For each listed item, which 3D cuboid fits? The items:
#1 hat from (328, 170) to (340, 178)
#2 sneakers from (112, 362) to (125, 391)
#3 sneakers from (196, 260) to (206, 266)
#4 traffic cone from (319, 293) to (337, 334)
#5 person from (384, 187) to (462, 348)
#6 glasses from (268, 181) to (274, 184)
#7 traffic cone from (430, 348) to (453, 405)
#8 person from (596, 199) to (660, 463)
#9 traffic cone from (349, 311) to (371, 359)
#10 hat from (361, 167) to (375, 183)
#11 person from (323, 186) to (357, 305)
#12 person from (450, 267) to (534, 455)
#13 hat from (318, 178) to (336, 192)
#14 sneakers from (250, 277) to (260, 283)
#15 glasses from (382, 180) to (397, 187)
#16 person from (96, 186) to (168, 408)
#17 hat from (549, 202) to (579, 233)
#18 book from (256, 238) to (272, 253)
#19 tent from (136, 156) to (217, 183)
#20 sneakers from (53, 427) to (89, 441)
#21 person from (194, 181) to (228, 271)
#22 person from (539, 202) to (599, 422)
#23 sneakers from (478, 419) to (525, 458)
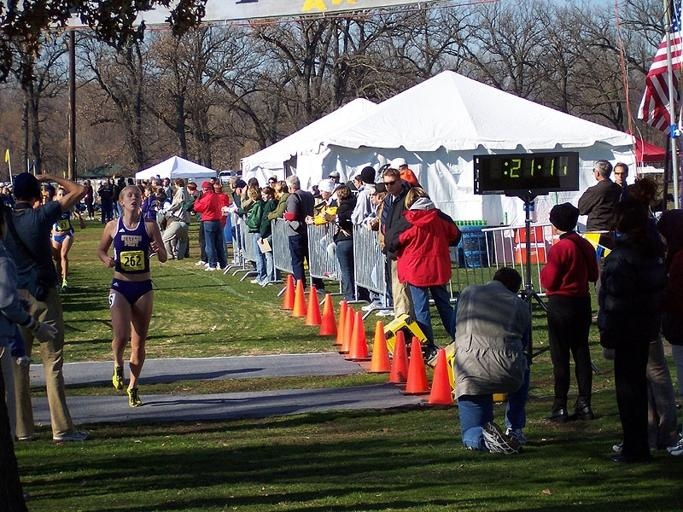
[{"bbox_3d":[-0.172,-1.857,25.393,0.247,0.121,0.353,-1,3,2],"label":"hat"},{"bbox_3d":[-2.831,1.561,13.880,0.143,0.456,0.190,1,-2,-27],"label":"sneakers"},{"bbox_3d":[-3.740,0.242,28.776,0.147,0.121,0.264,2,3,-43],"label":"sneakers"},{"bbox_3d":[-0.223,1.010,17.670,0.484,0.719,0.522,0,-2,0],"label":"traffic cone"},{"bbox_3d":[1.165,0.137,15.267,0.950,2.337,0.888,-12,15,-19],"label":"person"},{"bbox_3d":[-1.693,-1.706,25.803,0.178,0.058,0.179,0,-3,-5],"label":"glasses"},{"bbox_3d":[1.201,1.470,13.205,0.279,0.627,0.374,-1,0,-23],"label":"traffic cone"},{"bbox_3d":[2.969,0.768,11.119,0.652,2.391,0.332,-1,0,17],"label":"person"},{"bbox_3d":[0.271,1.160,15.738,0.311,0.668,0.507,-1,0,36],"label":"traffic cone"},{"bbox_3d":[0.466,-1.402,19.145,0.207,0.267,0.273,11,16,2],"label":"hat"},{"bbox_3d":[0.051,-0.194,19.960,0.407,2.057,0.831,-1,0,-1],"label":"person"},{"bbox_3d":[1.591,1.121,11.575,0.790,1.814,0.359,-1,0,5],"label":"person"},{"bbox_3d":[-0.305,-1.474,23.871,0.355,0.312,0.280,8,12,-18],"label":"hat"},{"bbox_3d":[-1.968,0.575,24.495,0.103,0.195,0.266,5,2,-35],"label":"sneakers"},{"bbox_3d":[0.686,-1.007,15.678,0.095,0.073,0.201,-1,1,-24],"label":"glasses"},{"bbox_3d":[-2.621,0.494,13.463,0.771,2.716,0.751,-1,0,-15],"label":"person"},{"bbox_3d":[2.564,-0.423,12.582,0.270,0.338,0.337,-10,10,-37],"label":"hat"},{"bbox_3d":[-1.654,-0.181,23.193,0.078,0.305,0.282,-15,11,-41],"label":"book"},{"bbox_3d":[-7.965,-3.944,51.479,3.467,1.511,3.412,-3,3,-26],"label":"tent"},{"bbox_3d":[-3.000,1.993,12.003,0.363,0.177,0.149,-3,2,-11],"label":"sneakers"},{"bbox_3d":[-3.288,-0.722,27.251,0.751,2.196,1.475,-1,0,-6],"label":"person"},{"bbox_3d":[2.604,0.637,12.399,0.639,2.213,0.445,-1,0,8],"label":"person"},{"bbox_3d":[1.669,1.956,11.438,0.207,0.469,0.214,-42,-12,-21],"label":"sneakers"}]
